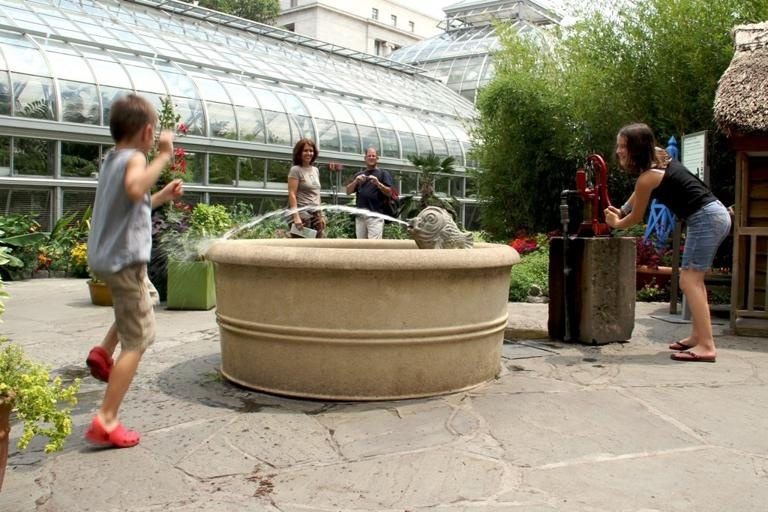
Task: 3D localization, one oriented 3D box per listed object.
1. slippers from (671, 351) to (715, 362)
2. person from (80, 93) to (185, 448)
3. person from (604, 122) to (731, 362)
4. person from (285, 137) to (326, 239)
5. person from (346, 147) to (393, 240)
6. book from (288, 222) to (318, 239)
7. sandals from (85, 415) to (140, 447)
[{"bbox_3d":[2.908,0.945,5.043,0.314,0.068,0.139,3,-3,4],"label":"slippers"},{"bbox_3d":[-1.612,0.070,3.423,0.644,2.191,0.552,-3,11,-13],"label":"person"},{"bbox_3d":[2.702,-0.148,5.114,0.986,2.195,0.469,6,13,30],"label":"person"},{"bbox_3d":[-1.087,-0.929,7.484,0.465,1.372,0.708,-2,11,-8],"label":"person"},{"bbox_3d":[-0.203,-1.006,9.011,0.795,1.545,1.468,0,10,1],"label":"person"},{"bbox_3d":[-1.072,-0.350,7.384,0.265,0.135,0.362,7,6,27],"label":"book"},{"bbox_3d":[-1.703,1.118,3.409,0.332,0.149,0.175,3,1,-28],"label":"sandals"}]
